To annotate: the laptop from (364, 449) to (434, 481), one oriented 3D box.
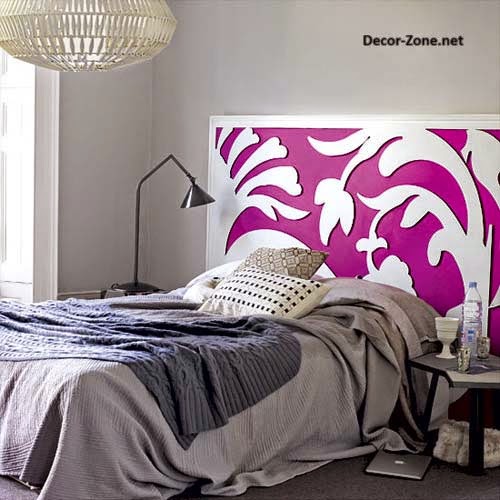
[{"bbox_3d":[0.594,0.848,2.034,0.265,0.027,0.380,-1,-2,25],"label":"laptop"}]
